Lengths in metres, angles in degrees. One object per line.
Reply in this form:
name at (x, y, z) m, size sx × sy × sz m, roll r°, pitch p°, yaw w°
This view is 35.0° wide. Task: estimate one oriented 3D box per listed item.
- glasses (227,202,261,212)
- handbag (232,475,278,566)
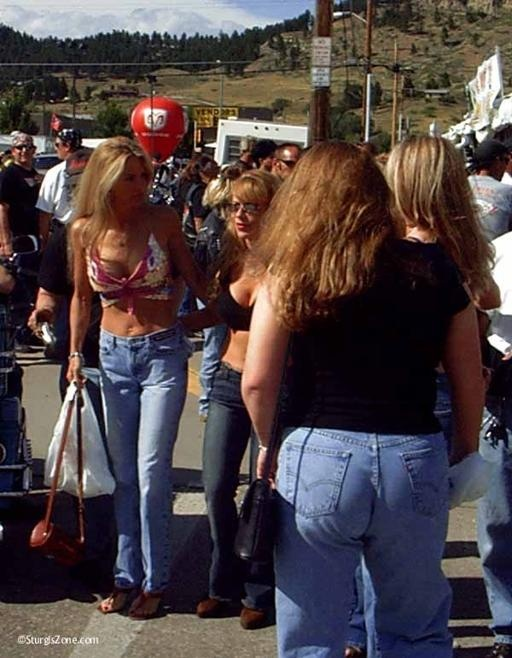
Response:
glasses at (-0.058, -0.501, 3.375) m, size 0.070 × 0.045 × 0.151 m, roll -8°, pitch 14°, yaw -38°
handbag at (0.000, 0.493, 2.061) m, size 0.105 × 0.204 × 0.124 m, roll 3°, pitch 12°, yaw 12°
